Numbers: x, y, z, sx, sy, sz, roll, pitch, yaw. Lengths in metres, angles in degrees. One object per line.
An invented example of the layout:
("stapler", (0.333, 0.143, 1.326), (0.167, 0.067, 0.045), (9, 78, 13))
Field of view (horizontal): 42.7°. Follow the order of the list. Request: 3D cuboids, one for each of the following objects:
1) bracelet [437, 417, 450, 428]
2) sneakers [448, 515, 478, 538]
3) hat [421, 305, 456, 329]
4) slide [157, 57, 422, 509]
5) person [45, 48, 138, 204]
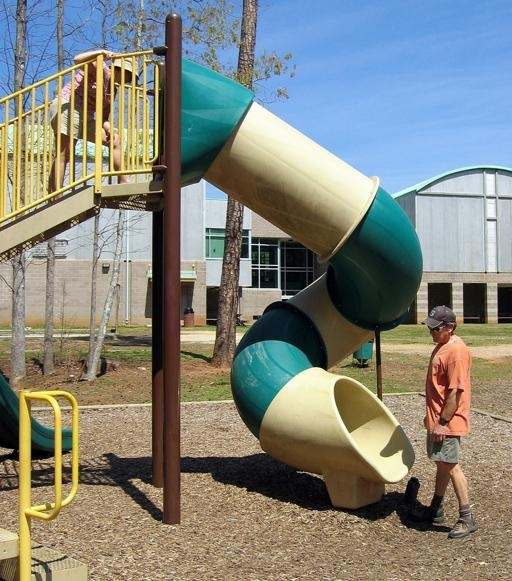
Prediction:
("bracelet", (1.291, 0.903, 4.528), (0.056, 0.047, 0.050), (9, -7, 22))
("sneakers", (1.433, 1.635, 4.557), (0.273, 0.117, 0.093), (1, -4, -41))
("hat", (1.356, 0.193, 4.818), (0.248, 0.117, 0.155), (-1, 3, -21))
("slide", (0.430, -0.040, 5.678), (2.393, 3.464, 1.644), (4, -1, -19))
("person", (-1.374, -1.429, 5.446), (0.652, 1.240, 0.958), (4, -1, -18))
